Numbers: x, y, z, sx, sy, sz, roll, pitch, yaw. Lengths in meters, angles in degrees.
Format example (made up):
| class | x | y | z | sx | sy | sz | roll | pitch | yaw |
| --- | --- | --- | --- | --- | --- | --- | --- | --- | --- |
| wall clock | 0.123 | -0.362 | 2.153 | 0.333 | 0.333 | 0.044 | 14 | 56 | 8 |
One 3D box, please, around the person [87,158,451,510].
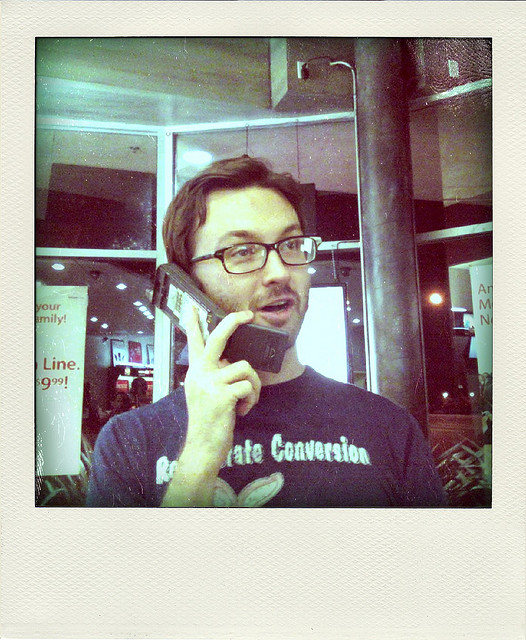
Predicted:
| class | x | y | z | sx | sy | sz | roll | pitch | yaw |
| --- | --- | --- | --- | --- | --- | --- | --- | --- | --- |
| person | -0.004 | 0.085 | 1.459 | 0.905 | 0.928 | 0.442 | -2 | -8 | -7 |
